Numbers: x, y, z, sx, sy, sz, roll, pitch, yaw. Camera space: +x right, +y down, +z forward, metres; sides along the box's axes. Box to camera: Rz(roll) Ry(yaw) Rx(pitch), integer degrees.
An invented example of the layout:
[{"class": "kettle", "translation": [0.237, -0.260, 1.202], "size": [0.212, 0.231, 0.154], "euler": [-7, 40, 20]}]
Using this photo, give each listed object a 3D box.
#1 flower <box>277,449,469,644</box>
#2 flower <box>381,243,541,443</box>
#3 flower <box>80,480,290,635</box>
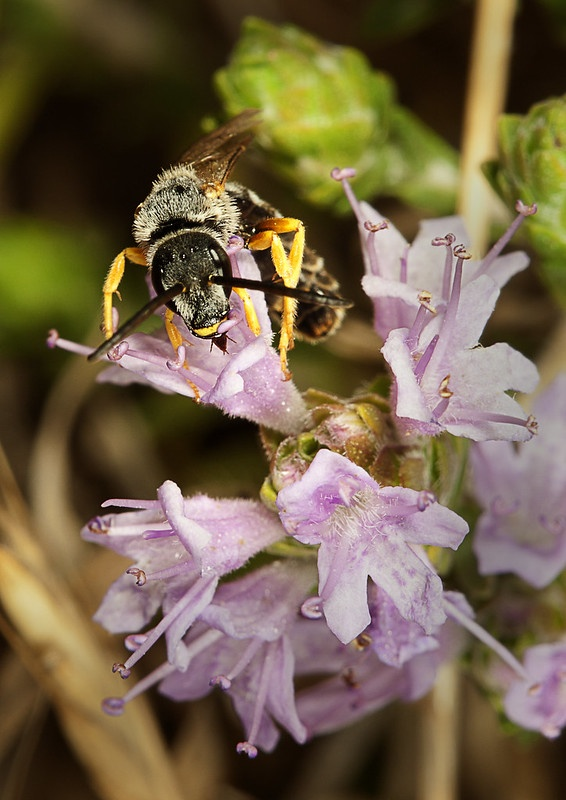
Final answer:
[{"class": "flower", "translation": [0.137, 0.202, 1.192], "size": [0.254, 0.223, 0.209], "euler": [-12, 47, -3]}, {"class": "flower", "translation": [0.292, -0.064, 1.367], "size": [0.287, 0.245, 0.247], "euler": [-19, 76, -4]}, {"class": "flower", "translation": [-0.194, 0.267, 1.428], "size": [0.435, 0.244, 0.191], "euler": [-1, 75, -13]}]
